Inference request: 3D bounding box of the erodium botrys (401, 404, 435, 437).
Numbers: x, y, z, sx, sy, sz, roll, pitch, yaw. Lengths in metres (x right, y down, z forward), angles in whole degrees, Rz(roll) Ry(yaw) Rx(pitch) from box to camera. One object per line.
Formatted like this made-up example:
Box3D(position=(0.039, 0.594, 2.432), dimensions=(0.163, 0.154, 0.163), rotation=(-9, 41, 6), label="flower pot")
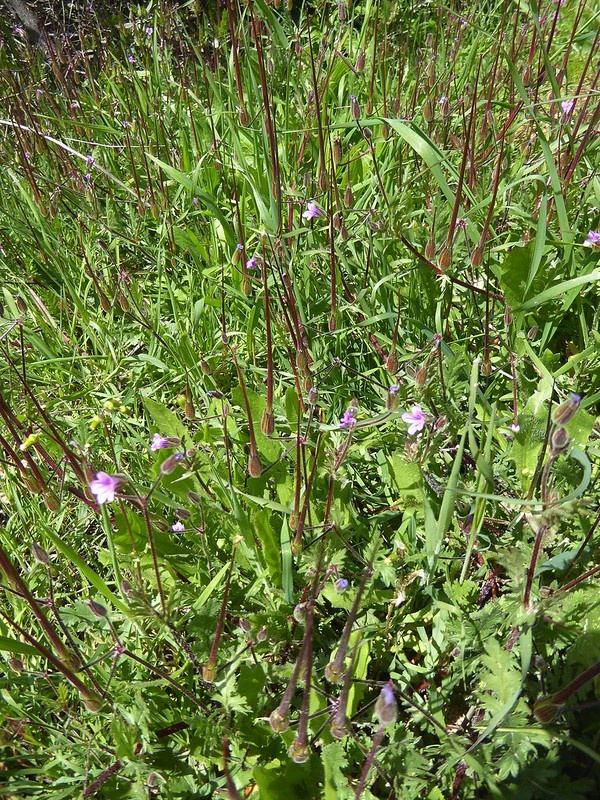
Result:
Box3D(position=(0.210, 0.037, 1.254), dimensions=(0.059, 0.021, 0.059), rotation=(-17, 68, 9), label="erodium botrys")
